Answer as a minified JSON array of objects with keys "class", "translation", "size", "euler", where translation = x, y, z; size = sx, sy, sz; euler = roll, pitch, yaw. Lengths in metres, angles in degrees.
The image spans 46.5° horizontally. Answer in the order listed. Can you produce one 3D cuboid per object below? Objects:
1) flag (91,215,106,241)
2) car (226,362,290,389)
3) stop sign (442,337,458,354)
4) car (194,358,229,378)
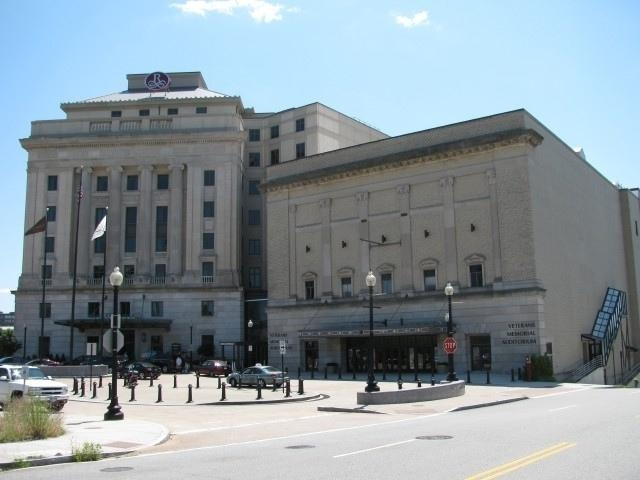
[{"class":"flag","translation":[-21.477,-1.137,71.888],"size":[1.807,0.265,3.595],"euler":[-38,-6,-26]},{"class":"car","translation":[-4.386,9.313,51.324],"size":[3.959,1.447,1.787],"euler":[-3,-8,33]},{"class":"stop sign","translation":[7.697,6.140,44.099],"size":[0.608,0.982,1.288],"euler":[-5,-13,17]},{"class":"car","translation":[-9.046,10.677,62.970],"size":[1.218,0.894,2.612],"euler":[6,-7,-42]}]
